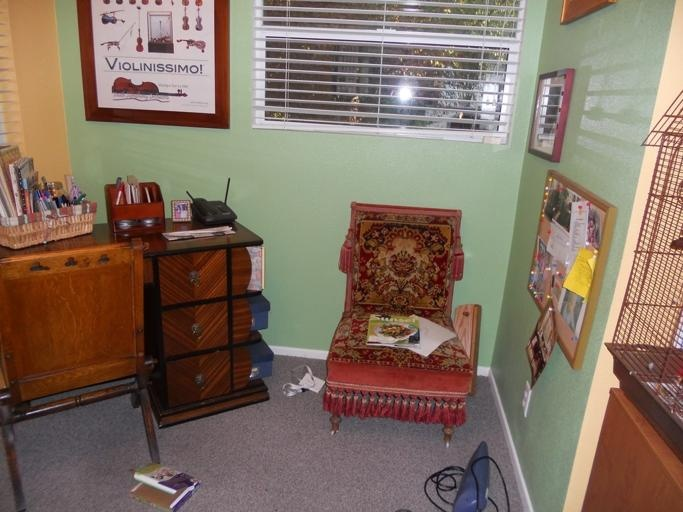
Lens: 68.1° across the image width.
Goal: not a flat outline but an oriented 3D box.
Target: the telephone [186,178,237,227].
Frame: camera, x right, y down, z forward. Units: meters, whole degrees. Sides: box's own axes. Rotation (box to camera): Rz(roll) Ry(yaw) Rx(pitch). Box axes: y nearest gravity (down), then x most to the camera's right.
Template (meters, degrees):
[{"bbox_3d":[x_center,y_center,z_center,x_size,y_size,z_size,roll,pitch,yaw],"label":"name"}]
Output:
[{"bbox_3d":[-0.888,-0.405,3.506,0.246,0.355,0.309,-3,5,-31],"label":"telephone"}]

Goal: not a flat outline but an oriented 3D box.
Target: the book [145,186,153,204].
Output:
[{"bbox_3d":[-1.270,-0.404,3.322,0.034,0.086,0.081,-5,20,-16],"label":"book"}]

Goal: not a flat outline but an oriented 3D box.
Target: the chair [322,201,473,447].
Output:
[{"bbox_3d":[0.412,0.412,3.428,0.978,1.371,0.816,3,19,6],"label":"chair"}]

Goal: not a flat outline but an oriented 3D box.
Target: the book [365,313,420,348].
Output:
[{"bbox_3d":[0.342,0.487,3.366,0.363,0.044,0.369,2,20,2],"label":"book"}]

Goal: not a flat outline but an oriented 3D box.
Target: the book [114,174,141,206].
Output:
[{"bbox_3d":[-1.386,-0.455,3.272,0.181,0.082,0.265,-8,36,-19],"label":"book"}]
